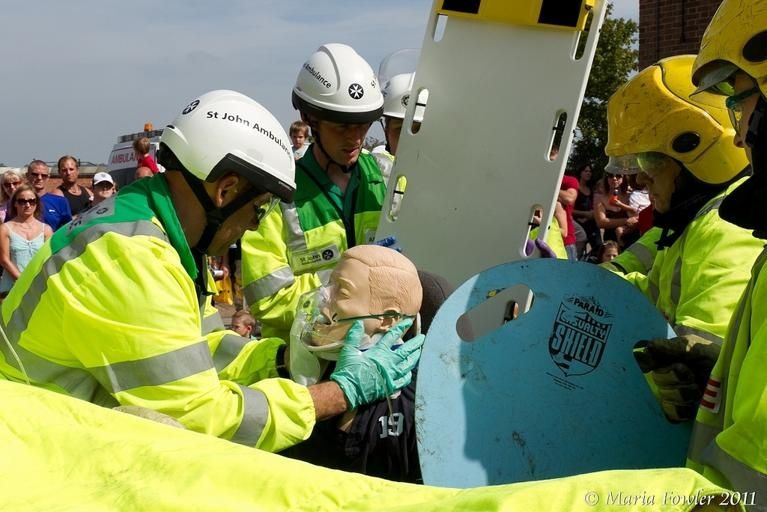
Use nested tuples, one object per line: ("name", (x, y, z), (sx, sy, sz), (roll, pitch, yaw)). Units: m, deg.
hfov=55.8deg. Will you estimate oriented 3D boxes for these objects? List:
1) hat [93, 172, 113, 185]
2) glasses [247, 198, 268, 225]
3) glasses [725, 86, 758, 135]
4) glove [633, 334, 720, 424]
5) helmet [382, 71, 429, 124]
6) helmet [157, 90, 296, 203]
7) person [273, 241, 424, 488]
("hat", (-3.628, -1.007, 9.387), (0.282, 0.192, 0.461), (0, 2, -22))
("glasses", (-0.595, -0.225, 3.467), (0.063, 0.083, 0.119), (-5, 57, -32))
("glasses", (1.414, -0.574, 2.882), (0.066, 0.194, 0.151), (1, 1, -2))
("glove", (1.094, 0.396, 2.863), (0.289, 0.152, 0.317), (-15, 3, 9))
("helmet", (0.153, -1.378, 6.122), (0.392, 0.421, 0.304), (-16, 26, -34))
("helmet", (-0.722, -0.462, 3.254), (0.457, 0.422, 0.393), (21, 7, -14))
("person", (-0.142, 0.463, 3.585), (0.645, 1.026, 0.996), (12, -5, -32))
